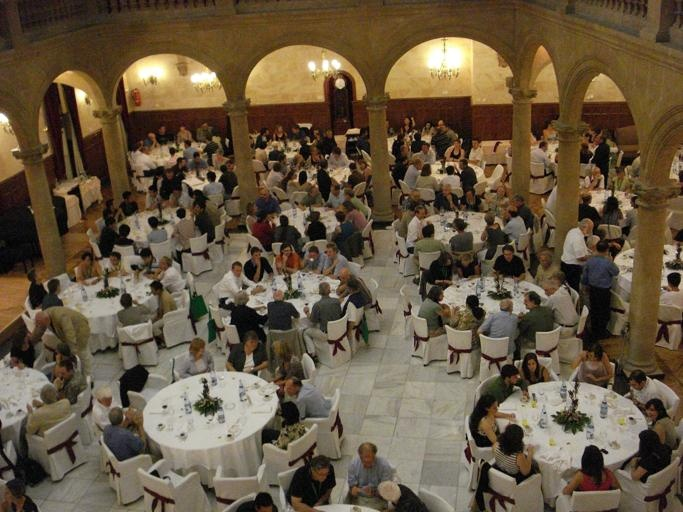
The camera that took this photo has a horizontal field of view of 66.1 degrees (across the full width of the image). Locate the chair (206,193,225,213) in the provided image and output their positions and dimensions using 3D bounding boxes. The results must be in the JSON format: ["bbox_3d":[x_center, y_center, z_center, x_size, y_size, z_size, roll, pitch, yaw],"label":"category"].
[{"bbox_3d":[-3.642,-1.549,15.185,0.436,0.433,0.375,-5,11,15],"label":"chair"}]

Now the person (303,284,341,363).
[{"bbox_3d":[-0.342,1.270,9.287,0.642,1.531,0.828,-16,41,-25],"label":"person"}]

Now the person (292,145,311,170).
[{"bbox_3d":[-1.261,-3.092,16.670,0.541,0.599,1.728,-20,1,1],"label":"person"}]

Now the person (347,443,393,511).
[{"bbox_3d":[0.328,2.627,6.138,0.472,0.995,0.577,4,59,7],"label":"person"}]

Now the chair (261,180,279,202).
[{"bbox_3d":[-1.969,-1.604,13.434,0.487,0.594,0.782,-5,4,3],"label":"chair"}]

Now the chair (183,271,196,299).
[{"bbox_3d":[-3.234,0.644,11.180,0.301,0.555,0.298,-9,21,-13],"label":"chair"}]

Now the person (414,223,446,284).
[{"bbox_3d":[1.829,-0.121,11.167,0.597,1.388,0.732,-2,35,3],"label":"person"}]

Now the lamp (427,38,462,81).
[{"bbox_3d":[3.866,-7.340,19.585,1.246,1.401,0.957,-2,11,10],"label":"lamp"}]

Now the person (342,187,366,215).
[{"bbox_3d":[0.284,-1.334,12.895,0.344,0.911,0.303,-22,36,28],"label":"person"}]

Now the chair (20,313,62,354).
[{"bbox_3d":[-5.206,1.385,9.123,0.582,0.402,1.073,13,-19,-1],"label":"chair"}]

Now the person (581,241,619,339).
[{"bbox_3d":[4.692,0.645,9.537,0.558,1.849,0.420,-1,11,15],"label":"person"}]

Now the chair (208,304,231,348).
[{"bbox_3d":[-2.260,1.308,9.759,0.431,0.647,0.509,-16,36,-27],"label":"chair"}]

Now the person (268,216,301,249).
[{"bbox_3d":[-1.277,-0.502,11.932,0.671,0.921,0.492,-4,35,-3],"label":"person"}]

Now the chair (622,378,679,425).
[{"bbox_3d":[4.243,1.951,7.213,0.624,0.676,0.504,8,24,32],"label":"chair"}]

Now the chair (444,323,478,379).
[{"bbox_3d":[2.111,1.619,9.066,0.469,0.858,0.549,5,14,31],"label":"chair"}]

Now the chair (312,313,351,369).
[{"bbox_3d":[-0.195,1.495,9.331,0.545,0.832,0.545,-24,40,-30],"label":"chair"}]

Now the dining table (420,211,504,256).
[{"bbox_3d":[2.686,-0.467,11.328,1.149,0.328,1.160,-27,35,-27],"label":"dining table"}]

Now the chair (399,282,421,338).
[{"bbox_3d":[1.321,1.107,10.172,0.524,0.890,0.570,-4,36,0],"label":"chair"}]

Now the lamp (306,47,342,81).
[{"bbox_3d":[-0.628,-7.307,19.897,1.368,1.180,2.695,-5,11,-2],"label":"lamp"}]

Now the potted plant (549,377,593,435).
[{"bbox_3d":[2.944,1.896,6.919,0.348,0.455,0.370,-8,-18,15],"label":"potted plant"}]

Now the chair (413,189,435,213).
[{"bbox_3d":[2.026,-1.342,12.904,0.485,0.836,0.660,3,60,13],"label":"chair"}]

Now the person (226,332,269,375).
[{"bbox_3d":[-1.539,1.782,8.536,0.650,1.115,0.559,4,8,-13],"label":"person"}]

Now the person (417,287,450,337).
[{"bbox_3d":[1.638,0.978,9.097,0.562,0.924,0.351,-8,11,-19],"label":"person"}]

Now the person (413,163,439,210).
[{"bbox_3d":[2.343,-1.957,14.291,0.839,1.146,1.408,5,-6,9],"label":"person"}]

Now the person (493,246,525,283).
[{"bbox_3d":[3.196,0.303,10.011,0.576,1.019,0.492,0,21,28],"label":"person"}]

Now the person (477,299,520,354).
[{"bbox_3d":[2.554,1.203,8.517,0.502,0.846,0.485,19,57,20],"label":"person"}]

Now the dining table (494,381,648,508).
[{"bbox_3d":[2.961,2.140,6.787,1.365,0.551,1.429,-20,37,-15],"label":"dining table"}]

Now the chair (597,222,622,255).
[{"bbox_3d":[5.417,-0.326,10.603,0.479,0.521,0.687,1,-28,32],"label":"chair"}]

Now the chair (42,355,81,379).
[{"bbox_3d":[-4.375,1.757,8.214,0.340,0.259,0.318,-26,-8,23],"label":"chair"}]

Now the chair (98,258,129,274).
[{"bbox_3d":[-4.998,0.233,11.662,0.513,0.296,0.713,1,-1,-4],"label":"chair"}]

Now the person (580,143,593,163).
[{"bbox_3d":[7.410,-3.080,15.798,0.323,0.574,0.902,1,12,26],"label":"person"}]

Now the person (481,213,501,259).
[{"bbox_3d":[3.215,-0.416,11.142,0.444,1.007,0.333,0,11,20],"label":"person"}]

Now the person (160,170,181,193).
[{"bbox_3d":[-4.866,-2.099,14.967,0.566,0.902,0.339,-9,27,-17],"label":"person"}]

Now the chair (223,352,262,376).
[{"bbox_3d":[-1.456,1.713,8.310,0.306,0.188,0.440,-8,6,3],"label":"chair"}]

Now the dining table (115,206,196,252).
[{"bbox_3d":[-4.320,-0.650,12.813,1.305,0.483,1.527,1,30,4],"label":"dining table"}]

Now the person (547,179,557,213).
[{"bbox_3d":[5.037,-1.329,12.590,0.227,0.790,2.024,0,12,20],"label":"person"}]

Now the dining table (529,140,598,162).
[{"bbox_3d":[6.501,-3.080,15.703,1.089,0.308,1.182,-7,24,-6],"label":"dining table"}]

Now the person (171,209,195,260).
[{"bbox_3d":[-3.753,-0.482,12.605,0.594,1.297,0.739,-11,13,-35],"label":"person"}]

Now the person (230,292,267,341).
[{"bbox_3d":[-1.623,1.100,9.127,0.332,0.817,0.458,24,52,23],"label":"person"}]

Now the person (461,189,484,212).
[{"bbox_3d":[3.256,-1.390,13.028,0.462,0.546,0.870,-3,11,8],"label":"person"}]

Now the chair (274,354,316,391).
[{"bbox_3d":[-0.705,1.763,8.019,0.533,0.472,0.443,-5,38,-5],"label":"chair"}]
